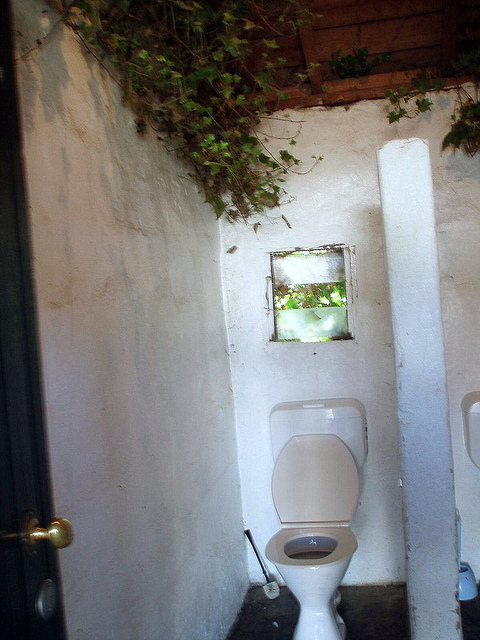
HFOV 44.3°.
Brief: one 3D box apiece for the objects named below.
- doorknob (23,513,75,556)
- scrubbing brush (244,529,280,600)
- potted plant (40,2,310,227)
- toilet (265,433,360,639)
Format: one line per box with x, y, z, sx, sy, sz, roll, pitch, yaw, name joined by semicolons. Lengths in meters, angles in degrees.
-0.335;0.384;1.049;0.081;0.048;0.058;-4;-10;15;doorknob
0.079;1.070;2.637;0.072;0.363;0.064;-26;-5;12;scrubbing brush
-0.168;-0.800;2.204;0.660;0.899;0.292;-40;47;-18;potted plant
0.292;0.848;2.267;0.354;0.802;0.624;-3;0;9;toilet
